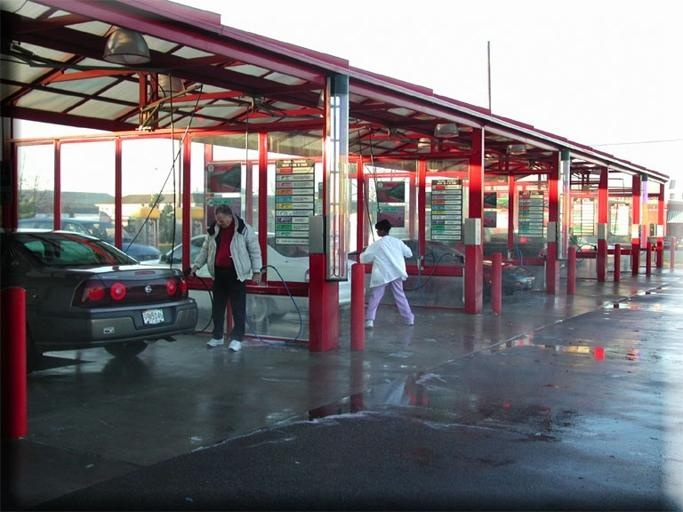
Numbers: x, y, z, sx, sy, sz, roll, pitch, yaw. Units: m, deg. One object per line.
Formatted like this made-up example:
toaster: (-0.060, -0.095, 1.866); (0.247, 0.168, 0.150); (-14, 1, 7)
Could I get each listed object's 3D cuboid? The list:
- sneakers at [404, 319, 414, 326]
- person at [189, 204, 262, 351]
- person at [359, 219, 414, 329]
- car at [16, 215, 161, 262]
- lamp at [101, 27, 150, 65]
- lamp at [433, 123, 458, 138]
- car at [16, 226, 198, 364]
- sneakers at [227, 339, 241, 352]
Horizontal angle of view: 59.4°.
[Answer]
sneakers: (1.387, 1.341, 12.037); (0.135, 0.093, 0.129); (2, -4, -27)
person: (-1.757, 0.343, 9.326); (1.109, 2.219, 0.433); (2, 3, 31)
person: (0.860, 0.334, 12.105); (1.338, 2.105, 0.948); (0, 3, -20)
car: (-5.149, -0.431, 12.135); (3.287, 0.900, 1.316); (2, 3, 8)
lamp: (-2.718, -2.657, 7.544); (0.582, 0.378, 0.415); (2, 3, 36)
lamp: (2.383, -2.844, 13.628); (0.386, 0.227, 0.386); (-2, -2, 32)
car: (-3.268, 0.420, 7.727); (2.626, 0.969, 1.422); (0, 1, 29)
sneakers: (-1.654, 1.380, 9.225); (0.193, 0.173, 0.271); (0, 3, -14)
